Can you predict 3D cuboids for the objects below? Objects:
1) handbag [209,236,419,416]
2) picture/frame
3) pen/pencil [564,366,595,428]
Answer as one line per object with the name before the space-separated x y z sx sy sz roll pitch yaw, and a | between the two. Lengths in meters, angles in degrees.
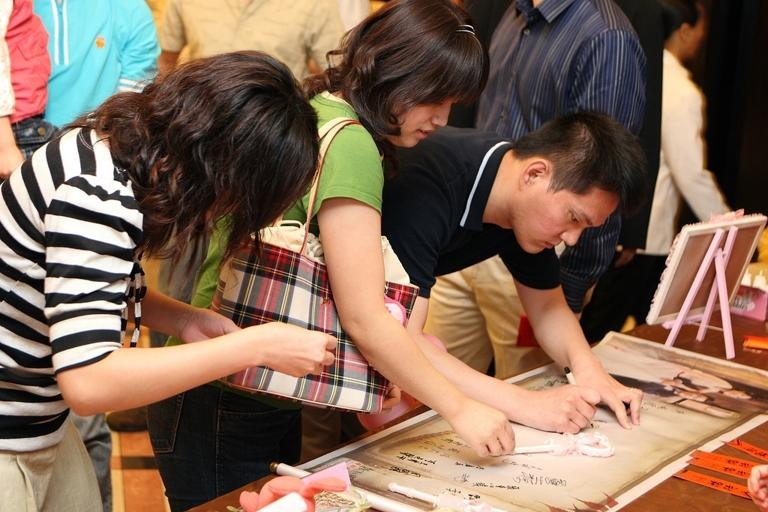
handbag | -0.164 0.152 1.374 0.349 0.333 0.136 17 2 -17
picture/frame | 1.150 0.051 2.173 0.500 0.344 0.050 -12 38 -43
pen/pencil | 0.544 0.395 1.755 0.023 0.161 0.023 -12 4 11
